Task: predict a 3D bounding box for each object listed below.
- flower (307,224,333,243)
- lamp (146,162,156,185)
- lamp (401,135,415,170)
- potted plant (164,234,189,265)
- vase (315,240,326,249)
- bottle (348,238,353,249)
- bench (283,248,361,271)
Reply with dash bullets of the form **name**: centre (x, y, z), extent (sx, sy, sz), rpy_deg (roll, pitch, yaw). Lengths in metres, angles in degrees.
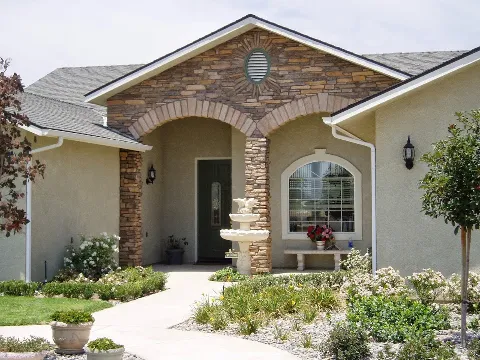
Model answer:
- **flower**: centre (2.268, 1.553, 19.619), extent (0.517, 0.420, 0.531), rpy_deg (4, -4, 3)
- **lamp**: centre (-2.739, -0.173, 21.200), extent (0.229, 0.710, 0.607), rpy_deg (0, -11, 7)
- **lamp**: centre (3.757, -0.596, 15.283), extent (0.274, 0.723, 0.272), rpy_deg (0, -11, 5)
- **potted plant**: centre (-2.032, 2.222, 21.754), extent (0.773, 1.007, 0.789), rpy_deg (0, -11, 1)
- **vase**: centre (2.282, 1.870, 19.590), extent (0.233, 0.186, 0.234), rpy_deg (1, 2, -32)
- **bottle**: centre (3.163, 1.845, 19.626), extent (0.148, 0.328, 0.216), rpy_deg (0, -11, 8)
- **bench**: centre (2.155, 2.280, 19.455), extent (1.851, 0.660, 1.046), rpy_deg (0, -11, 8)
